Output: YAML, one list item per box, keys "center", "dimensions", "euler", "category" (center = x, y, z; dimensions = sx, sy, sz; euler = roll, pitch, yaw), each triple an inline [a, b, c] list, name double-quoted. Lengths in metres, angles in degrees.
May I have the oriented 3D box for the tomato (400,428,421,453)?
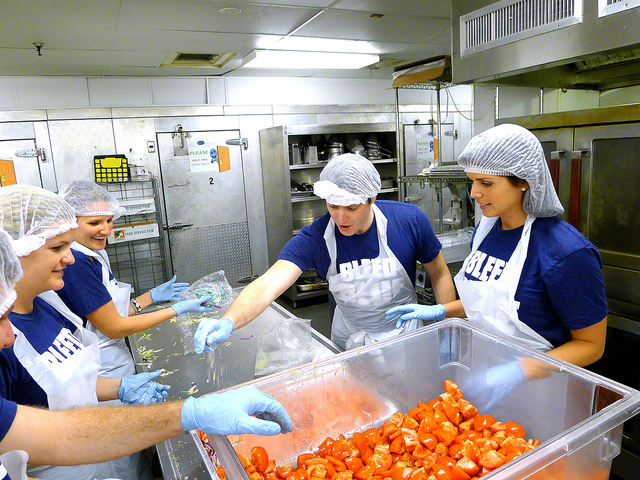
- center: [0.328, 0.742, 1.626]
  dimensions: [0.049, 0.025, 0.089]
  euler: [-7, 28, 3]
  category: "tomato"

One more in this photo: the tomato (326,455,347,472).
- center: [0.060, 0.807, 1.579]
  dimensions: [0.029, 0.015, 0.053]
  euler: [-25, 44, -25]
  category: "tomato"

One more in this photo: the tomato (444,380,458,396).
- center: [0.535, 0.605, 1.803]
  dimensions: [0.044, 0.047, 0.041]
  euler: [15, -26, -34]
  category: "tomato"

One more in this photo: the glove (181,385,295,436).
- center: [-0.287, 0.586, 1.487]
  dimensions: [0.383, 0.198, 0.240]
  euler: [4, 50, -20]
  category: "glove"

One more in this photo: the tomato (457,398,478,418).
- center: [0.580, 0.666, 1.737]
  dimensions: [0.073, 0.050, 0.060]
  euler: [-2, 12, 18]
  category: "tomato"

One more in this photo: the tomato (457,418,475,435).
- center: [0.559, 0.713, 1.681]
  dimensions: [0.048, 0.035, 0.049]
  euler: [-10, -25, -41]
  category: "tomato"

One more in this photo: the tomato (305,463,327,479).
- center: [-0.014, 0.818, 1.548]
  dimensions: [0.076, 0.030, 0.053]
  euler: [-8, 12, -13]
  category: "tomato"

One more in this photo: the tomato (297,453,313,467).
- center: [-0.059, 0.811, 1.616]
  dimensions: [0.043, 0.022, 0.045]
  euler: [-11, 3, 17]
  category: "tomato"

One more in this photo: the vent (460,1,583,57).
- center: [1.128, -1.285, 2.554]
  dimensions: [0.036, 0.251, 0.733]
  euler: [-12, 13, -35]
  category: "vent"

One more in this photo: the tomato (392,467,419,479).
- center: [0.290, 0.805, 1.511]
  dimensions: [0.082, 0.023, 0.056]
  euler: [-6, 11, -4]
  category: "tomato"

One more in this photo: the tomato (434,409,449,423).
- center: [0.470, 0.689, 1.709]
  dimensions: [0.055, 0.029, 0.053]
  euler: [-4, 11, 9]
  category: "tomato"

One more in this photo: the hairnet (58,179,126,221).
- center: [-1.279, -0.235, 2.469]
  dimensions: [0.229, 0.245, 0.302]
  euler: [11, 13, 36]
  category: "hairnet"

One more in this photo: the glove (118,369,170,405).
- center: [-0.818, 0.710, 2.042]
  dimensions: [0.209, 0.133, 0.201]
  euler: [-11, 13, -27]
  category: "glove"

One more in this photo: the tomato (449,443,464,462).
- center: [0.482, 0.752, 1.553]
  dimensions: [0.036, 0.025, 0.043]
  euler: [-28, 23, 49]
  category: "tomato"

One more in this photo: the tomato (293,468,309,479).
- center: [-0.065, 0.823, 1.540]
  dimensions: [0.050, 0.014, 0.039]
  euler: [-6, 11, -4]
  category: "tomato"

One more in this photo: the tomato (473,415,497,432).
- center: [0.610, 0.688, 1.669]
  dimensions: [0.056, 0.033, 0.053]
  euler: [-29, 21, -36]
  category: "tomato"

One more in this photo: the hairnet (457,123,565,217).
- center: [0.824, -0.299, 1.931]
  dimensions: [0.420, 0.414, 0.151]
  euler: [1, 12, 29]
  category: "hairnet"

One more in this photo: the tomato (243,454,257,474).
- center: [-0.240, 0.779, 1.530]
  dimensions: [0.015, 0.047, 0.044]
  euler: [-28, 50, -9]
  category: "tomato"

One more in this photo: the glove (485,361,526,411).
- center: [0.691, 0.550, 1.692]
  dimensions: [0.057, 0.114, 0.192]
  euler: [-1, -38, -40]
  category: "glove"

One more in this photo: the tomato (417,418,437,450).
- center: [0.390, 0.725, 1.617]
  dimensions: [0.046, 0.017, 0.082]
  euler: [-10, 33, 3]
  category: "tomato"

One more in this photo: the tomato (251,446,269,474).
- center: [-0.214, 0.773, 1.548]
  dimensions: [0.053, 0.102, 0.074]
  euler: [-11, -11, -19]
  category: "tomato"

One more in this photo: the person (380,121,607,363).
- center: [0.812, 0.054, 2.074]
  dimensions: [0.658, 1.076, 0.924]
  euler: [-7, 9, -19]
  category: "person"

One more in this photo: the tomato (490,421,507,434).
- center: [0.662, 0.699, 1.638]
  dimensions: [0.036, 0.014, 0.036]
  euler: [-14, 17, -30]
  category: "tomato"

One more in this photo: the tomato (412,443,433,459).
- center: [0.369, 0.767, 1.581]
  dimensions: [0.063, 0.042, 0.050]
  euler: [4, 14, 39]
  category: "tomato"

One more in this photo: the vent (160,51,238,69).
- center: [-1.263, -1.887, 4.540]
  dimensions: [0.676, 0.074, 0.675]
  euler: [-11, 13, -27]
  category: "vent"
